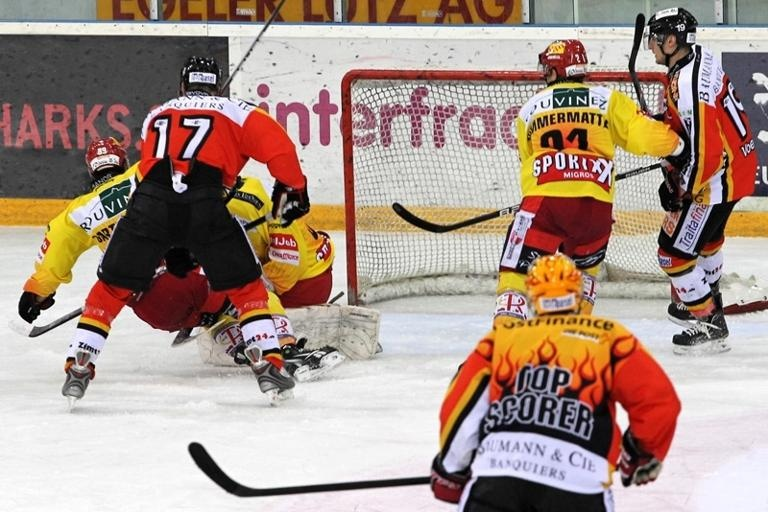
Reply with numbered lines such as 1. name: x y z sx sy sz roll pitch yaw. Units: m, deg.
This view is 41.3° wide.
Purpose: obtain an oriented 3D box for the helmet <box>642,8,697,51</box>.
1. helmet: 1.763 -1.395 6.268 0.312 0.210 0.214 11 9 25

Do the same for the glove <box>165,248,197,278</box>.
1. glove: -1.147 0.034 5.703 0.189 0.129 0.137 9 4 21

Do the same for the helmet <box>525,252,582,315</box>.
1. helmet: 0.670 0.115 4.196 0.224 0.236 0.239 -5 -3 6

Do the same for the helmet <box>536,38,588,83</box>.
1. helmet: 1.068 -1.152 6.020 0.231 0.259 0.294 -13 17 -33

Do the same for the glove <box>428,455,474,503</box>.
1. glove: 0.274 0.937 4.324 0.177 0.118 0.207 4 0 2

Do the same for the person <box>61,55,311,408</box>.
1. person: -1.062 -0.149 5.683 1.310 2.013 0.947 -4 -22 4

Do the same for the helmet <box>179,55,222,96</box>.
1. helmet: -1.004 -0.989 5.661 0.197 0.233 0.247 1 14 -7

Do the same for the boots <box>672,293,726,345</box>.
1. boots: 1.889 0.410 6.109 0.412 0.327 0.185 -1 -29 2
